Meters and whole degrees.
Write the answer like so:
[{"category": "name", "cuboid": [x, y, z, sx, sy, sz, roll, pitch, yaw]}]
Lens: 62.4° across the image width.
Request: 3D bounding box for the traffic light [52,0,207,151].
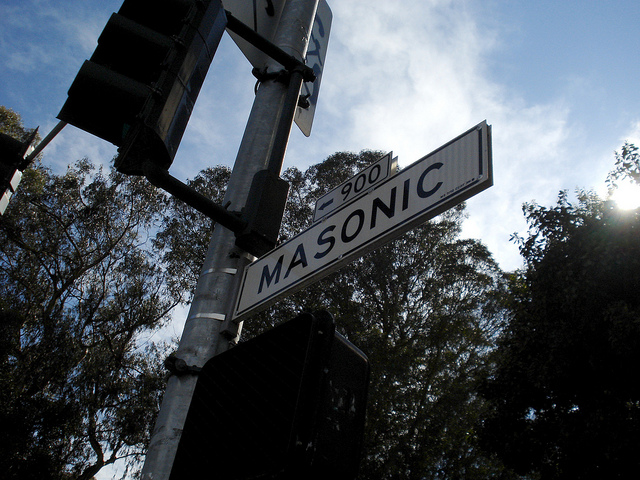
[{"category": "traffic light", "cuboid": [-1.311, -1.203, 3.649, 0.494, 1.128, 0.791, 30, -37, -34]}]
